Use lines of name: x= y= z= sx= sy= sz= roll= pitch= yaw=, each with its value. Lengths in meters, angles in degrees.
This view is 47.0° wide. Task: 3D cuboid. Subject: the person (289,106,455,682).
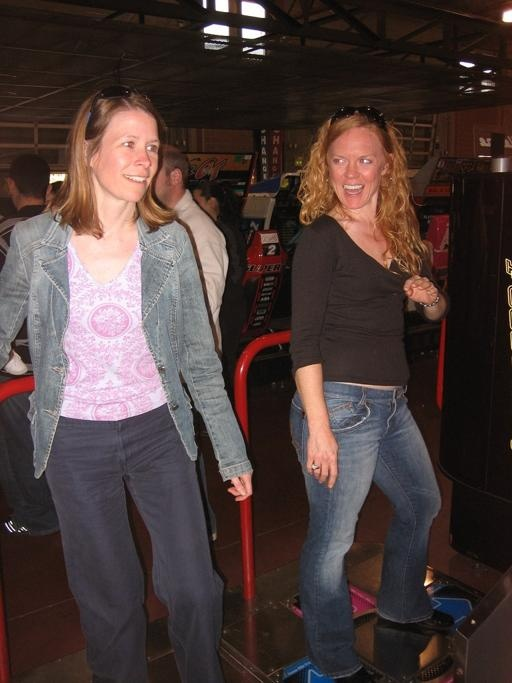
person: x=0.324 y=0.173 z=1.653 sx=0.462 sy=1.614 sz=0.664 roll=1 pitch=15 yaw=17

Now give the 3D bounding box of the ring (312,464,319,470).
ring: x=0.137 y=0.296 z=1.389 sx=0.010 sy=0.015 sz=0.008 roll=-5 pitch=-7 yaw=31
